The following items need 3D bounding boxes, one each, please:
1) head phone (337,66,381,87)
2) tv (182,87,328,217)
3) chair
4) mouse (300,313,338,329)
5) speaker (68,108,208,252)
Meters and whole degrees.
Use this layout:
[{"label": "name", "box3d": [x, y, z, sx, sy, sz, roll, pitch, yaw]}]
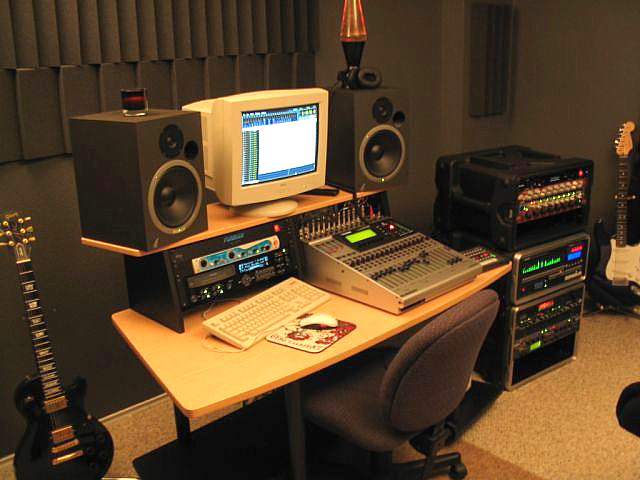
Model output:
[{"label": "head phone", "box3d": [0.187, -0.786, 2.657, 0.136, 0.057, 0.137, -1, 17, -19]}, {"label": "tv", "box3d": [-0.303, -0.417, 2.543, 0.437, 0.537, 0.571, 17, 25, 36]}, {"label": "chair", "box3d": [0.301, 0.611, 2.250, 0.540, 0.719, 0.594, -25, 37, -35]}, {"label": "mouse", "box3d": [-0.006, 0.327, 2.204, 0.102, 0.032, 0.071, 9, 18, 21]}, {"label": "speaker", "box3d": [-0.732, -0.266, 2.200, 0.399, 0.493, 0.354, 11, 22, 31]}]
